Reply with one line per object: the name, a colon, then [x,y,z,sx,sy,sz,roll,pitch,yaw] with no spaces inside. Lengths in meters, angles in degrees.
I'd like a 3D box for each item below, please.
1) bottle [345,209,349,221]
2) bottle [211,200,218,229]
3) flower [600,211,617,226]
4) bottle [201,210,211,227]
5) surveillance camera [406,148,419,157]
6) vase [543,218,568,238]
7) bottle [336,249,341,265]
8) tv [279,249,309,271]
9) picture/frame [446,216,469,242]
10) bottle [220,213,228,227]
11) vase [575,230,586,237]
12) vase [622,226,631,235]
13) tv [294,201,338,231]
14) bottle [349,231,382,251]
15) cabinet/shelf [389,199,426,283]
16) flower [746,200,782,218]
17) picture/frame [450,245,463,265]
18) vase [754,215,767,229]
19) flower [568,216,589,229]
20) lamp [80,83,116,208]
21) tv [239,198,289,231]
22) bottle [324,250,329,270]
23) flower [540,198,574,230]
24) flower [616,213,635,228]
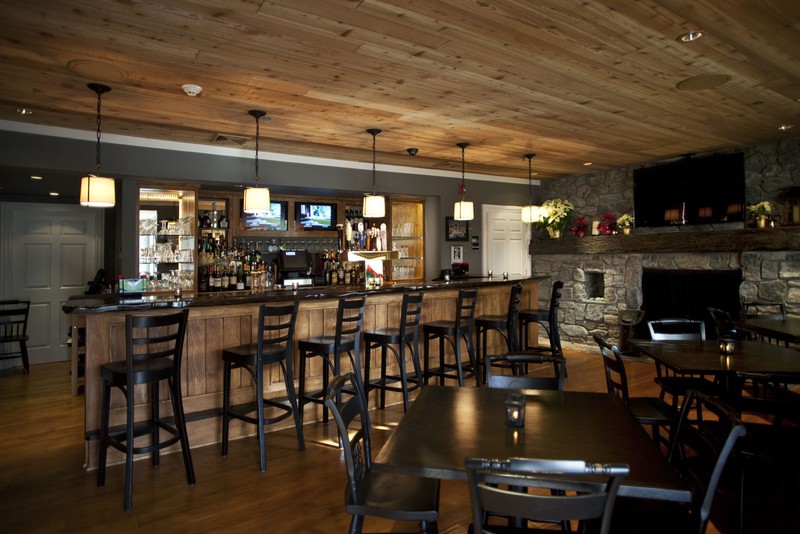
bottle: [-0.879,-0.825,9.267,0.100,0.193,0.038,-11,17,-41]
bottle: [-2.767,-0.731,8.261,0.097,0.374,0.258,-4,12,-16]
flower: [3.465,-0.761,9.216,0.257,0.188,0.431,4,11,19]
bottle: [-2.889,-0.653,8.219,0.160,0.223,0.226,-4,12,-18]
surveillance camera: [0.166,-1.564,7.854,0.169,0.103,0.481,0,10,-1]
vase: [2.699,-0.616,9.681,0.369,0.317,0.362,5,13,33]
bottle: [-1.041,-0.112,9.251,0.065,0.227,0.137,-1,12,-2]
tv: [-1.704,-0.054,8.809,0.371,0.285,0.176,3,-19,-31]
picture/frame: [0.925,-0.592,9.272,0.487,0.355,0.038,-3,5,-33]
bottle: [-2.644,-0.630,8.307,0.118,0.177,0.173,1,11,7]
vase: [3.064,-0.507,9.411,0.166,0.110,0.194,3,11,14]
vase: [3.610,-0.523,8.852,0.116,0.071,0.096,-5,9,-32]
tv: [-1.402,-0.767,8.955,0.607,0.349,0.073,0,-3,-25]
bottle: [-0.550,-0.342,8.857,0.343,0.347,0.580,-1,-2,-33]
cabinet/shelf: [0.118,-0.406,9.475,0.584,1.319,0.714,0,12,1]
flower: [4.914,-0.735,7.554,0.236,0.190,0.259,-3,-2,-43]
picture/frame: [0.948,-0.163,9.466,0.329,0.287,0.034,-18,12,-42]
vase: [4.848,-0.561,7.451,0.125,0.166,0.144,9,15,38]
flower: [3.064,-0.712,9.541,0.292,0.112,0.289,-1,-5,-2]
lamp: [-3.350,-1.235,6.116,0.381,1.195,1.572,-7,13,-27]
tv: [-2.006,-0.693,8.011,0.635,0.378,0.085,1,-3,-36]
bottle: [-1.210,-0.057,9.149,0.098,0.300,0.085,-2,13,-8]
flower: [2.651,-0.826,9.507,0.553,0.490,0.308,0,12,1]
flower: [3.617,-0.691,8.956,0.257,0.188,0.240,-3,-3,8]
